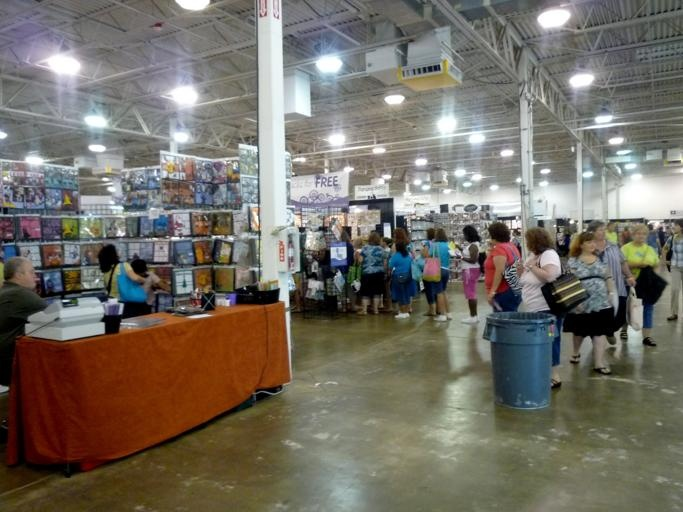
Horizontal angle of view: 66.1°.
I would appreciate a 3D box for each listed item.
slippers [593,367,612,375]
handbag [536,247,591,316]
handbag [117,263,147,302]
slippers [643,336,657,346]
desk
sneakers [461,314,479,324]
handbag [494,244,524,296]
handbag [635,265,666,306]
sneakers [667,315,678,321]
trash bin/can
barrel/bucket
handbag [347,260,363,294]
[{"bbox_3d":[3.050,1.341,6.140,0.091,0.041,0.154,-1,-6,-8],"label":"slippers"},{"bbox_3d":[2.321,0.411,5.521,0.478,0.350,0.173,-31,-12,14],"label":"handbag"},{"bbox_3d":[-2.775,0.368,6.909,0.339,0.544,0.166,-5,8,-23],"label":"handbag"},{"bbox_3d":[4.291,1.206,7.319,0.075,0.084,0.204,-3,-7,7],"label":"slippers"},{"bbox_3d":[-1.643,1.116,5.080,2.704,1.119,0.704,-8,9,-43],"label":"desk"},{"bbox_3d":[2.268,1.125,9.281,0.251,0.100,0.146,-3,-4,36],"label":"sneakers"},{"bbox_3d":[2.013,0.186,6.362,0.302,0.632,0.766,0,7,17],"label":"handbag"},{"bbox_3d":[4.257,0.407,7.228,0.368,0.541,0.226,2,8,31],"label":"handbag"},{"bbox_3d":[5.650,1.065,8.927,0.227,0.093,0.075,1,-2,-9],"label":"sneakers"},{"bbox_3d":[1.893,1.121,5.565,0.862,0.946,0.936,0,-2,-4],"label":"trash bin/can"},{"bbox_3d":[1.860,1.045,5.612,0.861,0.944,0.943,-1,-2,0],"label":"barrel/bucket"},{"bbox_3d":[0.269,0.395,10.608,0.286,0.711,0.662,6,-3,13],"label":"handbag"}]
